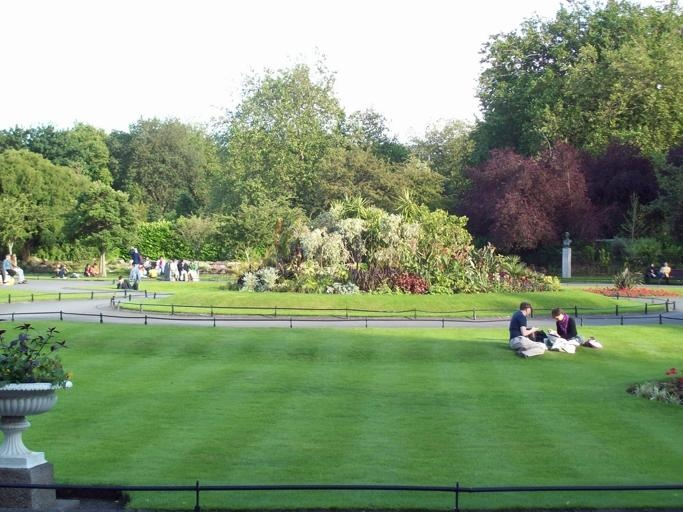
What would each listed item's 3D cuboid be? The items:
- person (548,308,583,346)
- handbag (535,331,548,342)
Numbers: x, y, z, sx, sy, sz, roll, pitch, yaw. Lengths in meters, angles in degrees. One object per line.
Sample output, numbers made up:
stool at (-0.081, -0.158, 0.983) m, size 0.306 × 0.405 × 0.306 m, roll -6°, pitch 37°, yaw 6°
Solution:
person at (10.192, 3.176, 50.975) m, size 1.342 × 1.648 × 0.660 m, roll 0°, pitch -2°, yaw -7°
handbag at (9.061, 3.641, 51.144) m, size 0.441 × 0.466 × 0.523 m, roll 3°, pitch 4°, yaw 28°
